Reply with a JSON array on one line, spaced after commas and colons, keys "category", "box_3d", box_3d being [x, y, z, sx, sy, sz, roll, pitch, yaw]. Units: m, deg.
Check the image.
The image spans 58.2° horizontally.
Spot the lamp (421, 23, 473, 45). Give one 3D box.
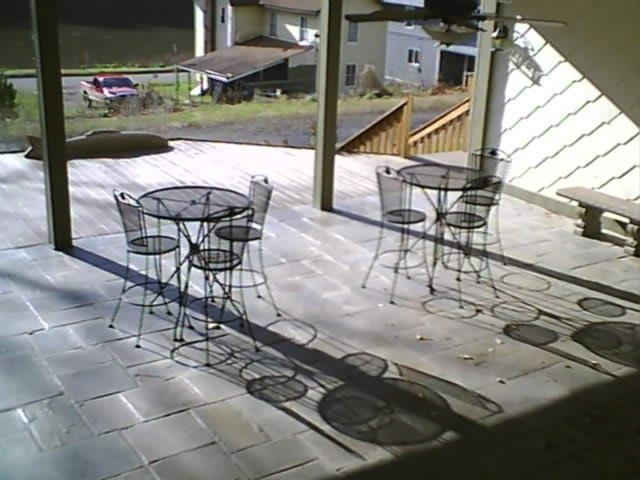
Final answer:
[{"category": "lamp", "box_3d": [0.990, -1.600, 4.442, 0.261, 0.113, 0.248, -14, 38, -38]}]
